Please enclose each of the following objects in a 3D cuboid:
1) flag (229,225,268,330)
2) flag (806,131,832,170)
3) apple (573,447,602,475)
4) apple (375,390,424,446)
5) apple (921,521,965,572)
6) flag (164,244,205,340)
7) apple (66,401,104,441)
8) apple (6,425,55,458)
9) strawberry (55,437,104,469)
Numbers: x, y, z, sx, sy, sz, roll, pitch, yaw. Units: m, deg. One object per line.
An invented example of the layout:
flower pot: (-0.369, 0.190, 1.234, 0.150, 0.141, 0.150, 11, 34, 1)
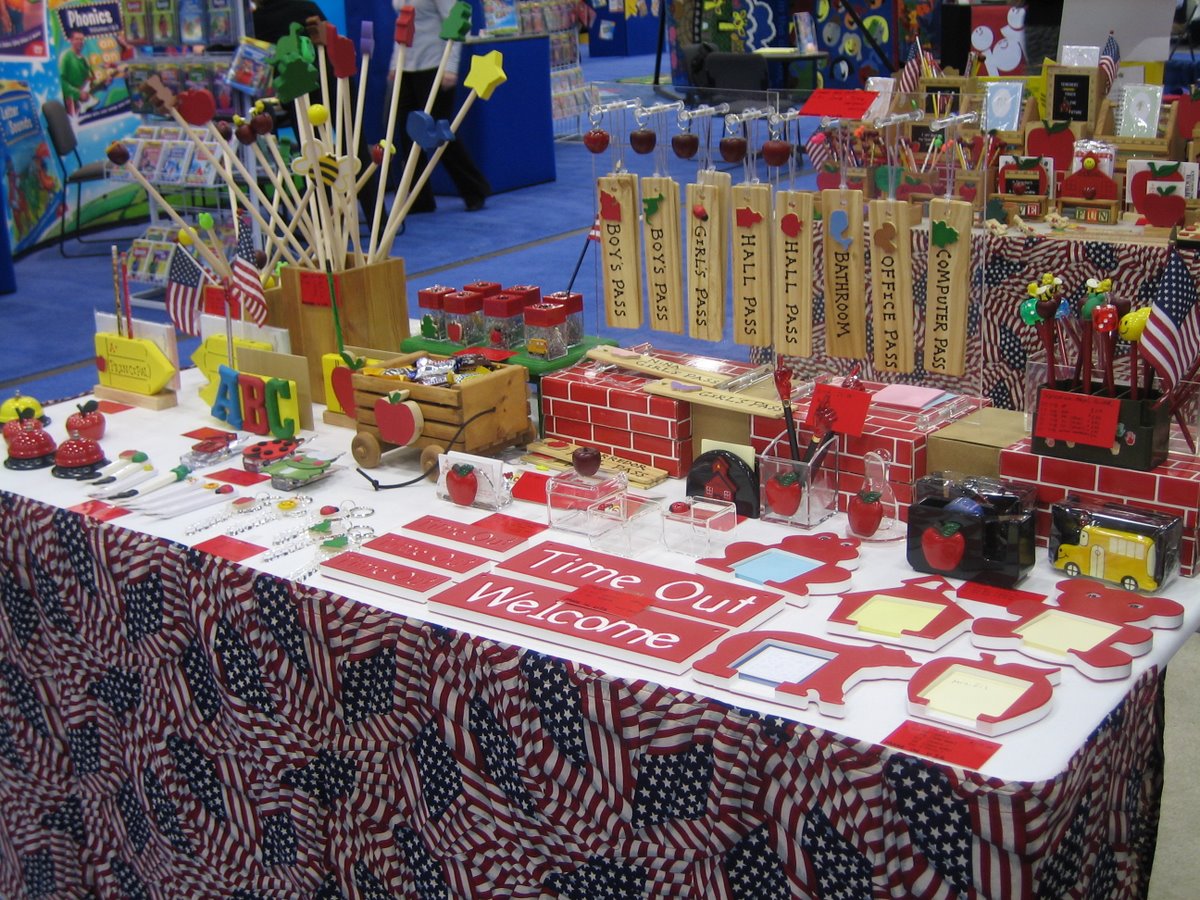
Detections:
flag: (-0.959, -0.486, 2.782, 0.084, 0.265, 0.380, -9, 22, -17)
flag: (0.617, -0.843, 2.886, 0.057, 0.096, 0.065, 22, 15, 29)
apple: (-0.023, 0.020, 2.160, 0.053, 0.048, 0.053, -3, 18, -12)
apple: (-0.454, -0.075, 2.354, 0.107, 0.108, 0.038, 12, 21, 42)
apple: (0.614, 0.176, 1.878, 0.074, 0.086, 0.076, 0, 20, 7)
flag: (-1.122, -0.443, 2.812, 0.105, 0.268, 0.039, 8, -20, -22)
apple: (-1.278, -0.067, 2.571, 0.100, 0.101, 0.099, -2, 20, -30)
apple: (-1.363, -0.016, 2.452, 0.086, 0.054, 0.086, -1, 9, -15)
strawberry: (-1.218, -0.003, 2.385, 0.082, 0.051, 0.083, -3, 9, -15)
